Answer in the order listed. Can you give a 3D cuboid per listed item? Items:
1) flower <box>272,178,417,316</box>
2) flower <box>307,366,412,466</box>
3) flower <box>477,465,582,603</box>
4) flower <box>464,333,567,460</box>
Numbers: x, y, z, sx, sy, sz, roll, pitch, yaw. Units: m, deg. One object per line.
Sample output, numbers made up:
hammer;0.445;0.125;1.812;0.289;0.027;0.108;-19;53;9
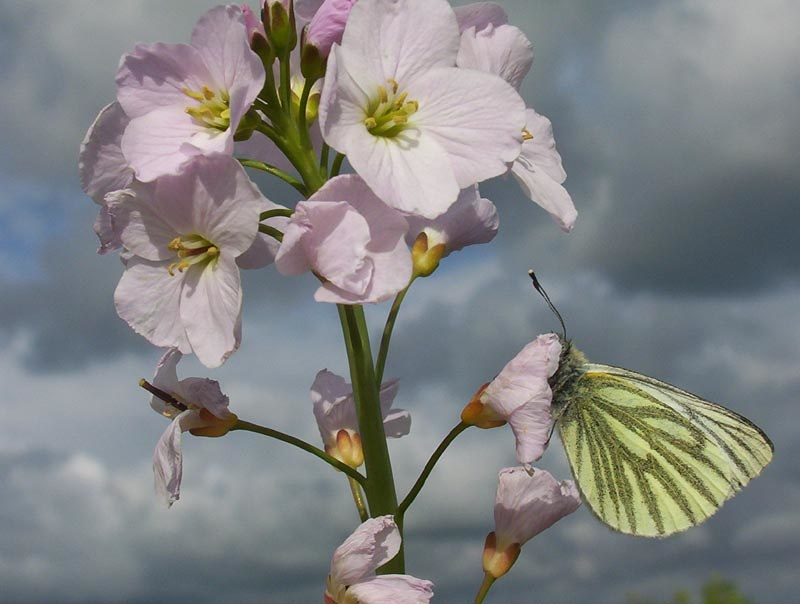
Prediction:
flower;-0.206;-0.264;6.268;0.500;0.602;0.285;-25;5;-6
flower;-0.259;0.586;7.413;0.470;0.366;0.564;8;25;19
flower;0.603;1.053;7.131;0.538;0.433;0.263;-13;25;-27
flower;0.514;0.455;6.670;0.440;0.511;0.417;1;22;4
